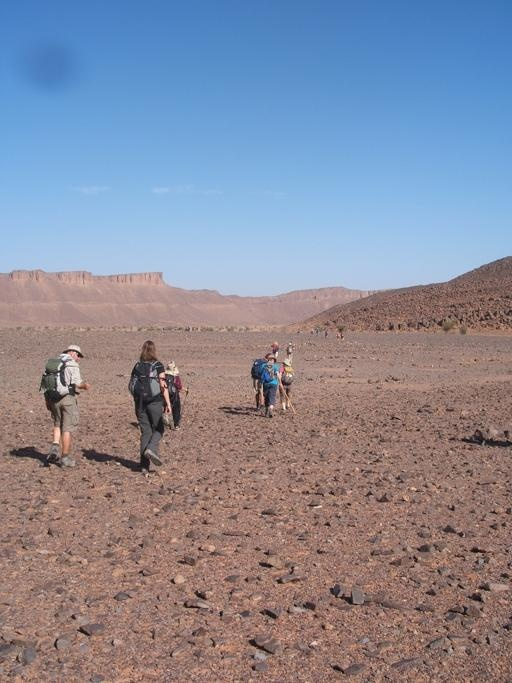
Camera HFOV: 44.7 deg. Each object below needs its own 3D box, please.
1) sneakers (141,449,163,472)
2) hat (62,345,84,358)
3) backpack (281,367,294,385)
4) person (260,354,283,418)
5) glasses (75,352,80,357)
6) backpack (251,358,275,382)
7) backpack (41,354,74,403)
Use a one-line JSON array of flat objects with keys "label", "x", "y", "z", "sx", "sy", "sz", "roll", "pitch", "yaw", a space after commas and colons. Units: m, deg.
[{"label": "sneakers", "x": -1.246, "y": 1.412, "z": 7.362, "sx": 0.114, "sy": 0.145, "sz": 0.324, "roll": -21, "pitch": -42, "yaw": 0}, {"label": "hat", "x": -3.536, "y": 0.170, "z": 12.037, "sx": 0.311, "sy": 0.131, "sz": 0.399, "roll": 6, "pitch": -21, "yaw": 23}, {"label": "backpack", "x": 0.670, "y": 0.761, "z": 13.842, "sx": 0.196, "sy": 0.372, "sz": 0.356, "roll": -2, "pitch": 2, "yaw": -5}, {"label": "person", "x": 0.281, "y": 0.884, "z": 12.692, "sx": 0.413, "sy": 1.262, "sz": 0.917, "roll": -2, "pitch": 2, "yaw": 1}, {"label": "glasses", "x": -2.251, "y": 0.157, "z": 7.838, "sx": 0.039, "sy": 0.055, "sz": 0.016, "roll": -13, "pitch": 8, "yaw": -25}, {"label": "backpack", "x": 0.081, "y": 0.574, "z": 12.808, "sx": 0.410, "sy": 0.604, "sz": 0.408, "roll": 2, "pitch": -2, "yaw": 1}, {"label": "backpack", "x": -2.428, "y": 0.454, "z": 7.520, "sx": 0.359, "sy": 0.532, "sz": 0.385, "roll": -4, "pitch": 3, "yaw": -37}]
